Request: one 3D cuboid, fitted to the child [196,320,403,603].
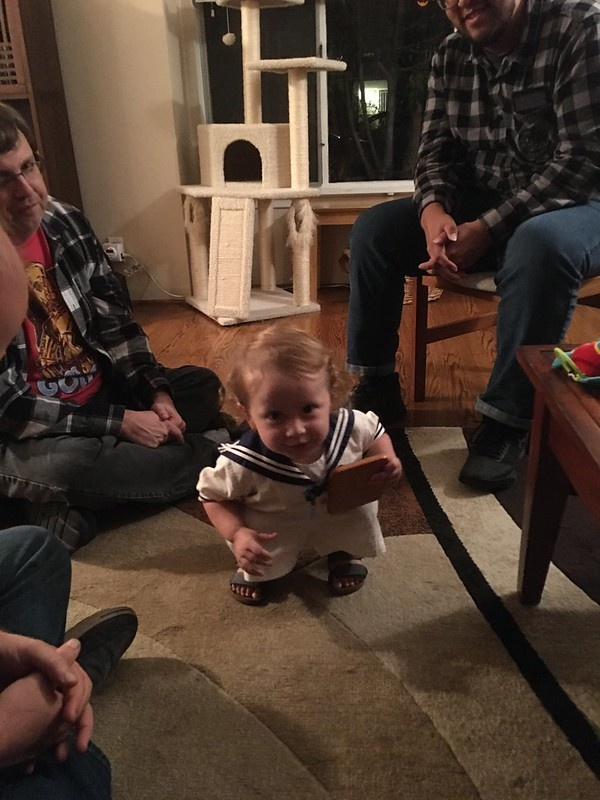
[{"bbox_3d":[0.003,0.137,1.197,0.433,0.598,0.371,-9,42,-3],"label":"child"}]
